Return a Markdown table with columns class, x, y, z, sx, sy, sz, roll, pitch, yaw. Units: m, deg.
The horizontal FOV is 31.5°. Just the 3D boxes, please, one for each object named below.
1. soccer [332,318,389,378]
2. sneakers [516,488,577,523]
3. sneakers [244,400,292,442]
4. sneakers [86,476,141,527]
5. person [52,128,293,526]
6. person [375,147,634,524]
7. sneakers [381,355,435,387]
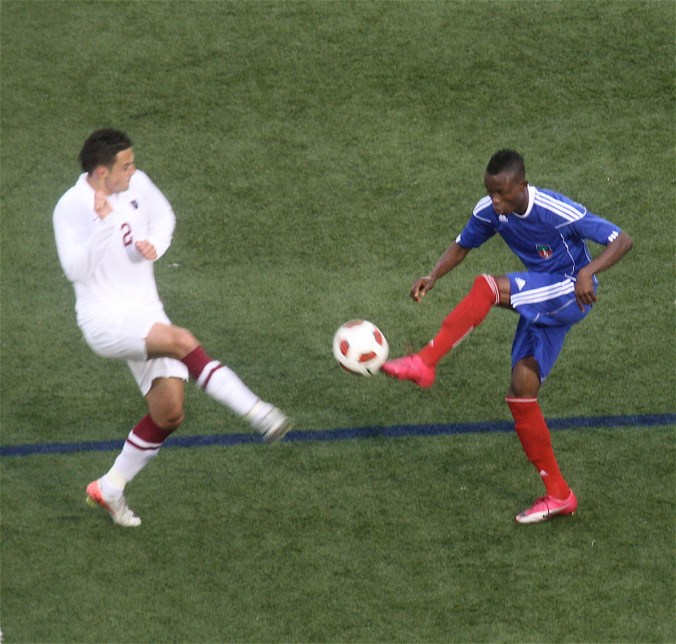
| class | x | y | z | sx | sy | sz | roll | pitch | yaw |
| --- | --- | --- | --- | --- | --- | --- | --- | --- | --- |
| soccer | 0.130 | 0.140 | 6.900 | 0.310 | 0.241 | 0.269 | 36 | 104 | 35 |
| sneakers | 1.202 | 1.077 | 6.997 | 0.395 | 0.179 | 0.155 | -14 | 22 | 5 |
| sneakers | -0.413 | 0.573 | 6.809 | 0.230 | 0.166 | 0.172 | 41 | 99 | -2 |
| sneakers | -1.337 | 1.071 | 7.099 | 0.308 | 0.145 | 0.115 | 38 | 30 | -4 |
| person | -1.017 | 0.045 | 6.889 | 1.099 | 1.908 | 1.395 | -10 | 51 | -5 |
| person | 0.962 | 0.136 | 6.850 | 1.282 | 2.156 | 1.085 | -2 | 8 | -5 |
| sneakers | 0.409 | 0.274 | 6.886 | 0.308 | 0.146 | 0.152 | 17 | 62 | -2 |
